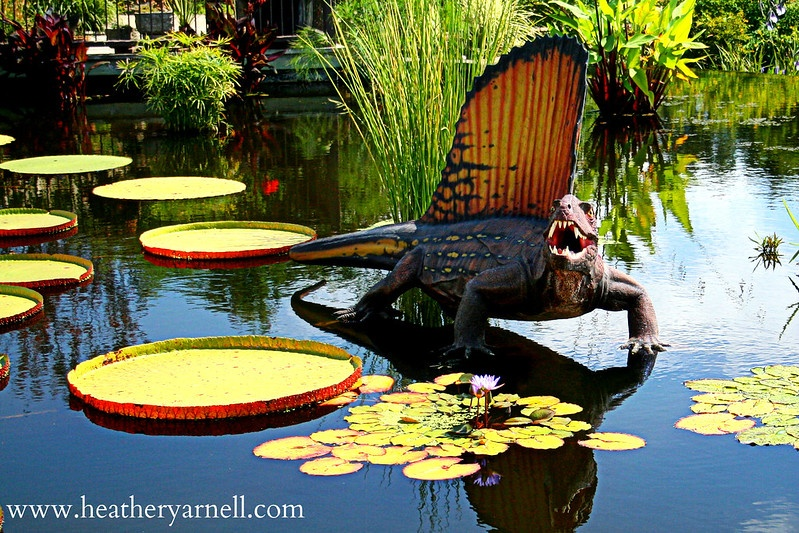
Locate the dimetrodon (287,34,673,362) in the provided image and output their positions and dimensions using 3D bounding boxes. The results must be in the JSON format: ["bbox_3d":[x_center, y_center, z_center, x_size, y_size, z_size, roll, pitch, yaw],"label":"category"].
[{"bbox_3d":[0.361,-0.457,6.897,1.466,1.671,3.214,-6,11,-35],"label":"dimetrodon"}]
